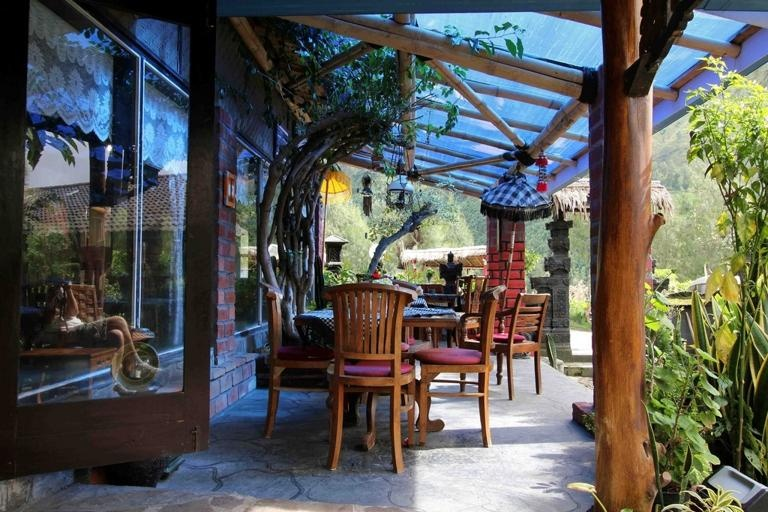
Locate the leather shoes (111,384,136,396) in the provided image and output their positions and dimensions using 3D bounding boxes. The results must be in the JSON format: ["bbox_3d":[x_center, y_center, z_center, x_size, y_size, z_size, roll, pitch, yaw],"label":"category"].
[{"bbox_3d":[-1.624,0.828,3.547,0.129,0.064,0.037,1,5,4],"label":"leather shoes"}]

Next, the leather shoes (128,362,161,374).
[{"bbox_3d":[-1.520,0.710,3.604,0.120,0.028,0.081,7,2,-13],"label":"leather shoes"}]
